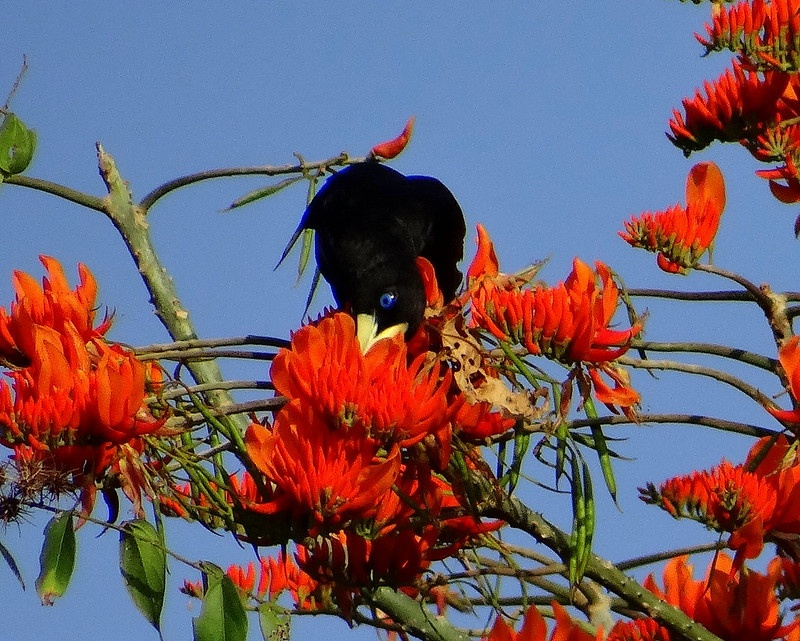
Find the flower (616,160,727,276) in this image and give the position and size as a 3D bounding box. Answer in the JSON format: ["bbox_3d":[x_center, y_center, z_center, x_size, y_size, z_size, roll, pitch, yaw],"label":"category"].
[{"bbox_3d":[0.524,-0.190,4.456,0.167,0.121,0.204,-3,-85,-6],"label":"flower"}]

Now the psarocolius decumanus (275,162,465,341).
[{"bbox_3d":[-0.093,-0.189,4.247,0.259,0.417,0.197,-7,-77,-16],"label":"psarocolius decumanus"}]
